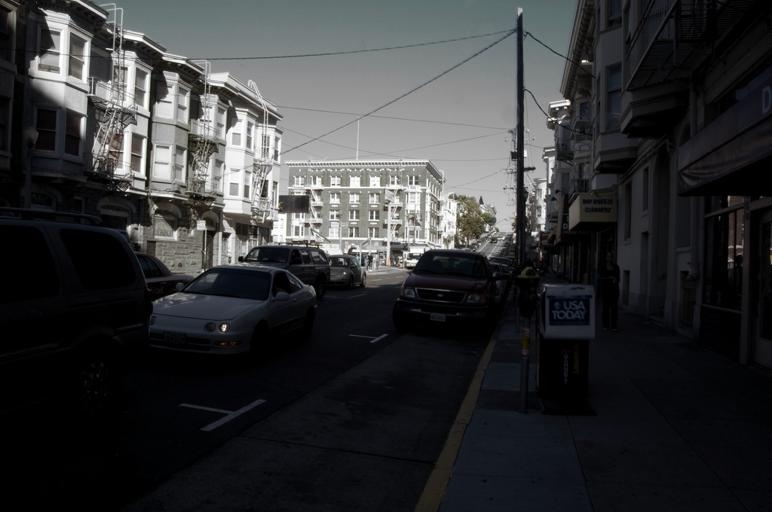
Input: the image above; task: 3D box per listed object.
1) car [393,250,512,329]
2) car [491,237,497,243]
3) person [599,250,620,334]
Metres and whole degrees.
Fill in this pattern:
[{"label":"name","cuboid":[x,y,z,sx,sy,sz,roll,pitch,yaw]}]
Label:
[{"label":"car","cuboid":[1.549,0.783,16.852,1.614,1.378,2.965,-2,-7,14]},{"label":"car","cuboid":[24.771,-3.343,149.132,0.989,0.872,2.297,3,12,17]},{"label":"person","cuboid":[5.972,0.955,17.455,0.443,2.018,0.903,2,6,17]}]
